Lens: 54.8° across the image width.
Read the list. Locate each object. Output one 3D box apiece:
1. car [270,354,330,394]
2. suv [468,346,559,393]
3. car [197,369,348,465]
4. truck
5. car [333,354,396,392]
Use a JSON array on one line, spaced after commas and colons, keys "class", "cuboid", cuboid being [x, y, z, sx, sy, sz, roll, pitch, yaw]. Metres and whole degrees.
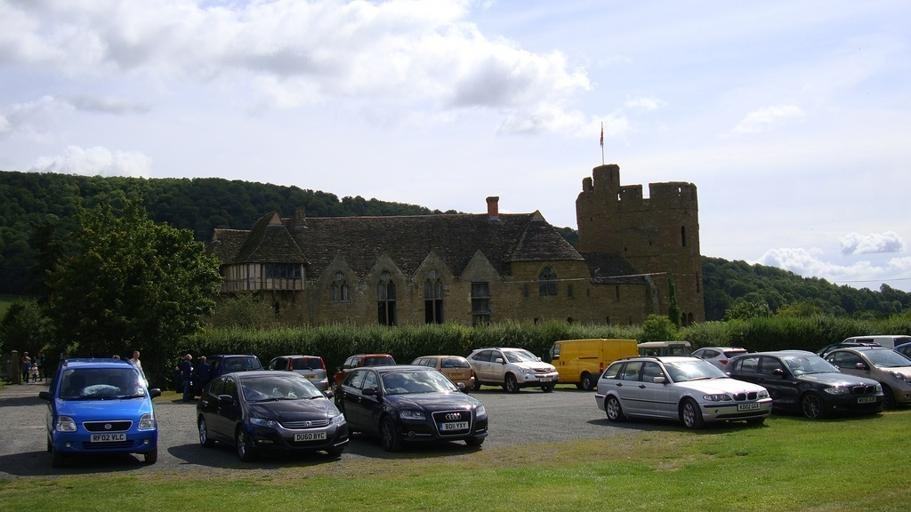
[{"class": "car", "cuboid": [-8.937, 6.697, 49.424, 2.898, 2.106, 4.798, -1, -1, -29]}, {"class": "suv", "cuboid": [3.345, 7.022, 54.286, 3.421, 2.328, 6.554, 2, -6, -32]}, {"class": "car", "cuboid": [-7.326, 6.278, 34.396, 6.001, 3.135, 2.594, 2, 8, 27]}, {"class": "truck", "cuboid": [8.415, 6.684, 54.980, 3.912, 2.824, 6.407, 3, -5, -28]}, {"class": "car", "cuboid": [-5.309, 6.796, 50.402, 2.577, 2.001, 4.256, 2, -2, -26]}]
